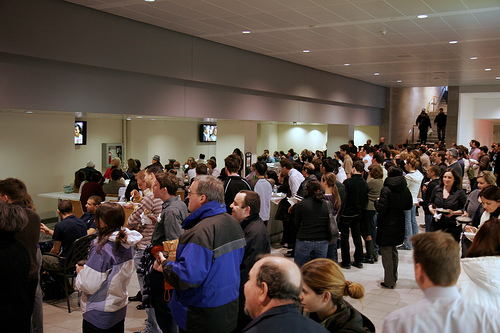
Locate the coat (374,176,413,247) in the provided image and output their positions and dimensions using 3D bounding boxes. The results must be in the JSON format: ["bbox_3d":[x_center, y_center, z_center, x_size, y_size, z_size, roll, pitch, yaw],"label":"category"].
[{"bbox_3d":[2.462,0.756,5.801,0.610,1.204,0.243,0,2,-14],"label":"coat"}]

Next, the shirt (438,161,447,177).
[{"bbox_3d":[4.146,0.058,7.278,0.160,0.253,0.295,4,9,35],"label":"shirt"}]

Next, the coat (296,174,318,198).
[{"bbox_3d":[1.004,0.358,5.966,0.300,0.390,0.217,28,11,20],"label":"coat"}]

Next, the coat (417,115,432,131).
[{"bbox_3d":[9.843,-2.468,19.123,0.929,0.887,0.522,8,-15,-7],"label":"coat"}]

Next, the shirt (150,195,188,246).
[{"bbox_3d":[-0.928,0.608,3.870,0.297,0.454,0.570,8,2,-20],"label":"shirt"}]

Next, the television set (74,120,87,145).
[{"bbox_3d":[-6.106,-1.227,12.243,0.089,0.865,0.525,1,3,22],"label":"television set"}]

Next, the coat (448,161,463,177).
[{"bbox_3d":[4.427,0.048,7.286,0.237,0.175,0.312,-28,-60,37],"label":"coat"}]

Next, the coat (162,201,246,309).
[{"bbox_3d":[-0.424,0.819,3.237,0.649,0.912,1.066,4,-1,18],"label":"coat"}]

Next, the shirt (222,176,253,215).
[{"bbox_3d":[-0.194,0.470,5.534,0.586,0.746,0.420,-2,23,-1],"label":"shirt"}]

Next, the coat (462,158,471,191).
[{"bbox_3d":[5.929,0.196,9.259,0.159,0.837,0.668,2,3,33],"label":"coat"}]

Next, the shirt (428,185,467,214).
[{"bbox_3d":[3.452,0.544,5.893,0.312,0.450,0.628,-12,14,-40],"label":"shirt"}]

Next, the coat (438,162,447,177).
[{"bbox_3d":[4.166,0.056,7.315,0.153,0.217,0.209,24,0,9],"label":"coat"}]

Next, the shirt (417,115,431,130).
[{"bbox_3d":[9.794,-2.489,19.051,0.914,0.884,0.529,-3,-9,32],"label":"shirt"}]

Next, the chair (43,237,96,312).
[{"bbox_3d":[-2.828,1.567,5.113,0.679,0.992,0.624,8,-12,4],"label":"chair"}]

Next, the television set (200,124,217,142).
[{"bbox_3d":[-2.019,-1.656,16.705,0.453,0.864,0.998,2,3,28],"label":"television set"}]

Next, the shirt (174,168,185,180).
[{"bbox_3d":[-2.146,0.249,10.348,0.287,0.376,0.864,0,3,-12],"label":"shirt"}]

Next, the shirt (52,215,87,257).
[{"bbox_3d":[-2.746,1.069,5.166,0.292,0.603,0.533,5,1,35],"label":"shirt"}]

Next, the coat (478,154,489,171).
[{"bbox_3d":[8.043,-0.132,11.624,0.319,0.586,0.537,13,5,35],"label":"coat"}]

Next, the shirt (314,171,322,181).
[{"bbox_3d":[1.490,0.192,7.386,0.194,0.055,0.203,17,-4,39],"label":"shirt"}]

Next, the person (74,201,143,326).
[{"bbox_3d":[-1.459,1.034,3.505,0.630,1.307,0.284,-1,3,-28],"label":"person"}]

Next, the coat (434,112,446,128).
[{"bbox_3d":[10.177,-2.493,18.056,0.521,0.802,0.403,2,3,27],"label":"coat"}]

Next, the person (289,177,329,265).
[{"bbox_3d":[1.019,0.824,5.861,0.525,1.332,1.486,0,3,6],"label":"person"}]
